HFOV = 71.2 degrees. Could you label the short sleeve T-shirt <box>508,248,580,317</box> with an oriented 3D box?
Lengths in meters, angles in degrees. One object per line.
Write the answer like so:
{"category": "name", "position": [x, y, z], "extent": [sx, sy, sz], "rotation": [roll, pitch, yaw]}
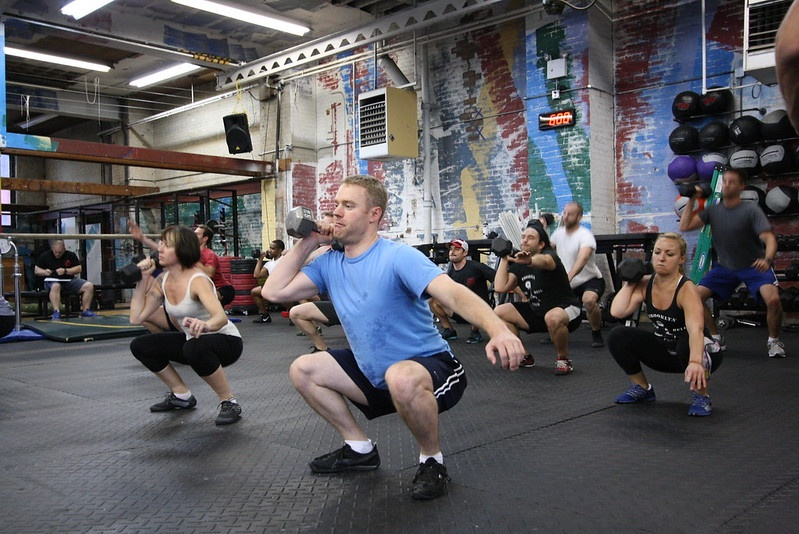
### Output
{"category": "short sleeve T-shirt", "position": [1.355, 0.199, 5.361], "extent": [0.689, 0.626, 0.384], "rotation": [-14, 14, 40]}

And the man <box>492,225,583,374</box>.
{"category": "man", "position": [1.250, 0.303, 5.183], "extent": [1.058, 1.271, 0.923], "rotation": [0, -4, -26]}

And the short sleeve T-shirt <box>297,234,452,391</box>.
{"category": "short sleeve T-shirt", "position": [-0.112, 0.193, 3.010], "extent": [0.933, 0.767, 0.444], "rotation": [-9, 11, 36]}

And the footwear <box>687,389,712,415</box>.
{"category": "footwear", "position": [2.064, 0.921, 3.835], "extent": [0.134, 0.147, 0.240], "rotation": [2, 6, 32]}

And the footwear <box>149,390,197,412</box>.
{"category": "footwear", "position": [-1.675, 1.014, 4.236], "extent": [0.365, 0.128, 0.124], "rotation": [3, -8, -9]}

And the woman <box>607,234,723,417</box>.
{"category": "woman", "position": [1.885, 0.368, 3.803], "extent": [0.815, 1.137, 0.850], "rotation": [-5, 2, -18]}

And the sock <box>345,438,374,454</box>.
{"category": "sock", "position": [-0.214, 0.983, 3.093], "extent": [0.127, 0.111, 0.074], "rotation": [3, -5, -13]}

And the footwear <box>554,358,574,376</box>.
{"category": "footwear", "position": [1.467, 0.885, 4.991], "extent": [0.108, 0.114, 0.286], "rotation": [-5, -12, 22]}

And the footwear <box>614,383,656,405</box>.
{"category": "footwear", "position": [1.732, 0.929, 4.131], "extent": [0.324, 0.114, 0.120], "rotation": [-2, -6, -8]}

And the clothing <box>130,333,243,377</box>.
{"category": "clothing", "position": [-1.507, 0.586, 3.983], "extent": [0.470, 0.221, 0.497], "rotation": [-3, 0, -44]}

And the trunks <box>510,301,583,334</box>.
{"category": "trunks", "position": [1.409, 0.459, 5.224], "extent": [0.414, 0.142, 0.387], "rotation": [-9, -2, -2]}

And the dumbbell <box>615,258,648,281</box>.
{"category": "dumbbell", "position": [1.650, 0.031, 3.959], "extent": [0.200, 0.162, 0.185], "rotation": [4, -26, 1]}

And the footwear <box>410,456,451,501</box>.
{"category": "footwear", "position": [0.145, 1.062, 2.805], "extent": [0.139, 0.095, 0.230], "rotation": [-4, -10, 11]}

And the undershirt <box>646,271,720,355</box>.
{"category": "undershirt", "position": [1.924, 0.319, 3.949], "extent": [0.307, 0.504, 0.416], "rotation": [-18, 14, -28]}

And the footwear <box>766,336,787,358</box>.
{"category": "footwear", "position": [3.723, 0.786, 5.534], "extent": [0.128, 0.103, 0.279], "rotation": [-3, -5, 25]}

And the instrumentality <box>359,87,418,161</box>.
{"category": "instrumentality", "position": [-0.176, -2.522, 9.955], "extent": [1.035, 1.052, 0.961], "rotation": [-4, 10, -19]}

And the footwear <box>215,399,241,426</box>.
{"category": "footwear", "position": [-1.191, 0.993, 3.908], "extent": [0.165, 0.133, 0.227], "rotation": [-2, 5, -5]}

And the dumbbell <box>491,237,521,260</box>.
{"category": "dumbbell", "position": [0.900, -0.161, 4.810], "extent": [0.124, 0.124, 0.462], "rotation": [-4, -4, 16]}

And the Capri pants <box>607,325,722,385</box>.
{"category": "Capri pants", "position": [1.789, 0.562, 3.938], "extent": [0.551, 0.278, 0.446], "rotation": [-3, -9, -43]}

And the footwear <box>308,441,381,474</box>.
{"category": "footwear", "position": [-0.297, 1.071, 3.169], "extent": [0.419, 0.154, 0.148], "rotation": [1, -9, -3]}

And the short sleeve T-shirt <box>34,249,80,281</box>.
{"category": "short sleeve T-shirt", "position": [-5.910, -0.076, 9.648], "extent": [0.880, 0.563, 0.479], "rotation": [0, -8, -14]}

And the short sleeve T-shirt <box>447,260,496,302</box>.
{"category": "short sleeve T-shirt", "position": [0.715, 0.113, 5.494], "extent": [0.572, 0.408, 0.288], "rotation": [-11, 1, 27]}

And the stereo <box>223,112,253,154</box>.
{"category": "stereo", "position": [-2.993, -2.446, 10.350], "extent": [0.475, 0.696, 0.418], "rotation": [-10, 22, -10]}

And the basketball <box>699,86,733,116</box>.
{"category": "basketball", "position": [4.296, -2.218, 7.690], "extent": [0.391, 0.331, 0.380], "rotation": [9, -11, -37]}
